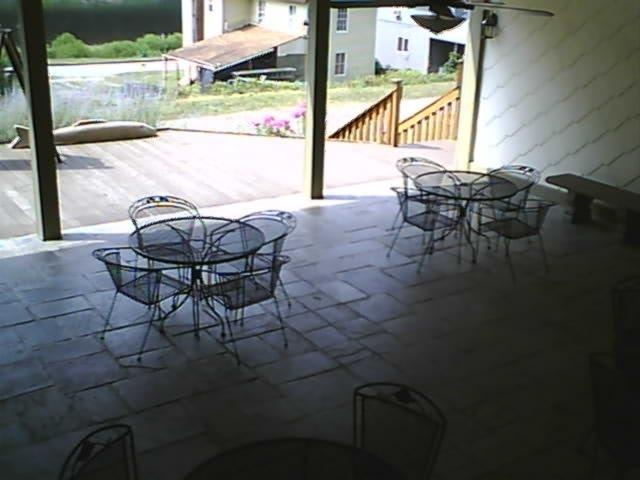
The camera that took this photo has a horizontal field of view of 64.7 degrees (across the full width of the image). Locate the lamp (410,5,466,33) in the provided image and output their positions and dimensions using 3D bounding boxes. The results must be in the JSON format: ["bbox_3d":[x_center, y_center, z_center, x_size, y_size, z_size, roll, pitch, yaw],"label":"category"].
[{"bbox_3d":[0.852,-1.620,3.709,0.258,0.083,0.241,18,-15,28],"label":"lamp"}]
